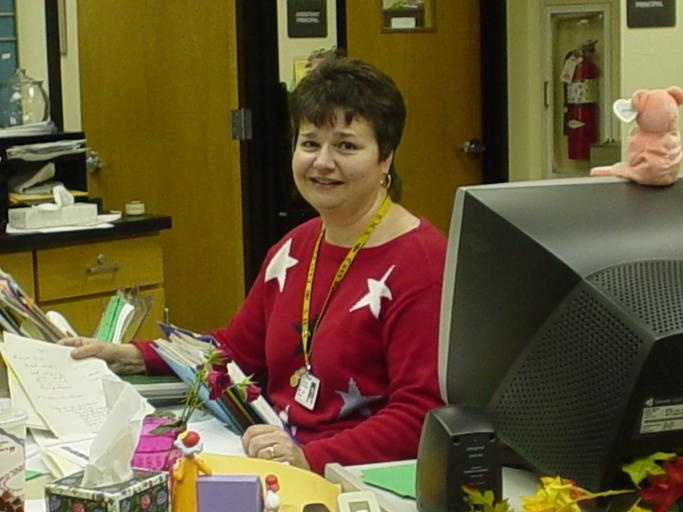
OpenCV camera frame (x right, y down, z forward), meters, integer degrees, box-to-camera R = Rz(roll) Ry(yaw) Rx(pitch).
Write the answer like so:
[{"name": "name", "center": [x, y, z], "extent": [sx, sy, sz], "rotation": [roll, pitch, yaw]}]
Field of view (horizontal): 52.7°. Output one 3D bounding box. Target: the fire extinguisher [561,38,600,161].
[{"name": "fire extinguisher", "center": [1.159, -0.755, 3.357], "extent": [0.050, 0.565, 0.205], "rotation": [-5, 8, -30]}]

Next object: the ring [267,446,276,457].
[{"name": "ring", "center": [-0.125, 0.359, 1.255], "extent": [0.014, 0.017, 0.013], "rotation": [2, 2, 0]}]

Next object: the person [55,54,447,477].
[{"name": "person", "center": [-0.081, 0.096, 1.534], "extent": [0.495, 1.235, 0.561], "rotation": [3, 6, 40]}]

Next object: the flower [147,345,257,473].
[{"name": "flower", "center": [-0.258, 0.281, 1.313], "extent": [0.327, 0.178, 0.149], "rotation": [-1, 15, -6]}]

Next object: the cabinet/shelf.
[{"name": "cabinet/shelf", "center": [-1.020, 0.074, 2.851], "extent": [0.427, 0.701, 0.659], "rotation": [4, 9, 41]}]
